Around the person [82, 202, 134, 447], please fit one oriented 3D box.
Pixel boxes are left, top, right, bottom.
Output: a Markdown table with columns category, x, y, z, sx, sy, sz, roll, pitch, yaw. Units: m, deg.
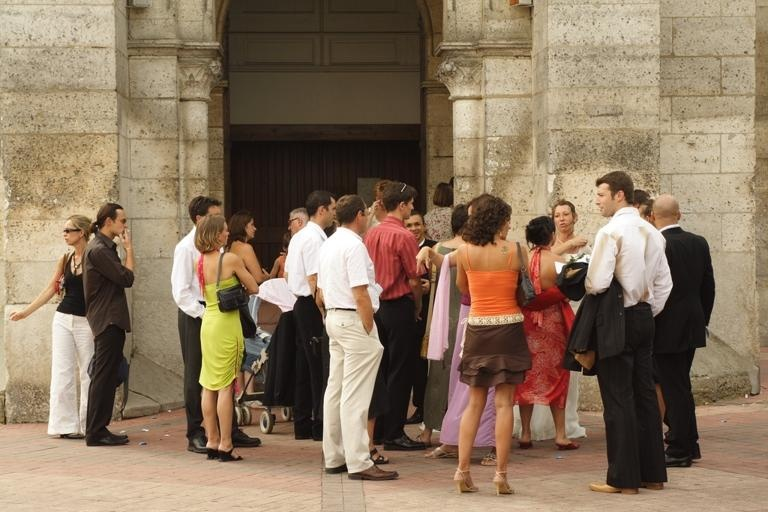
| category | x | y | z | sx | sy | sz | roll | pitch | yaw |
| --- | --- | --- | --- | --- | --- | --- | --- | --- | --- |
| person | -3.030 | 0.765 | 16.746 | 0.534 | 2.633 | 0.319 | 0 | -1 | -11 |

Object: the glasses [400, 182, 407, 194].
| category | x | y | z | sx | sy | sz | roll | pitch | yaw |
| --- | --- | --- | --- | --- | --- | --- | --- | --- | --- |
| glasses | 0.221 | -0.690 | 16.086 | 0.017 | 0.091 | 0.053 | 21 | -2 | -35 |

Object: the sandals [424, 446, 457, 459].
| category | x | y | z | sx | sy | sz | roll | pitch | yaw |
| --- | --- | --- | --- | --- | --- | --- | --- | --- | --- |
| sandals | 0.603 | 2.092 | 16.142 | 0.336 | 0.083 | 0.131 | 2 | -4 | -8 |

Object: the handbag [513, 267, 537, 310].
| category | x | y | z | sx | sy | sz | roll | pitch | yaw |
| --- | --- | --- | --- | --- | --- | --- | --- | --- | --- |
| handbag | 1.404 | 0.333 | 15.210 | 0.162 | 0.371 | 0.389 | -6 | -8 | -16 |

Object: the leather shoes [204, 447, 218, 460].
| category | x | y | z | sx | sy | sz | roll | pitch | yaw |
| --- | --- | --- | --- | --- | --- | --- | --- | --- | --- |
| leather shoes | -1.806 | 2.100 | 16.009 | 0.083 | 0.092 | 0.142 | 2 | 8 | 4 |

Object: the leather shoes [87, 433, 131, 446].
| category | x | y | z | sx | sy | sz | roll | pitch | yaw |
| --- | --- | --- | --- | --- | --- | --- | --- | --- | --- |
| leather shoes | -3.021 | 2.027 | 16.748 | 0.460 | 0.176 | 0.161 | -3 | 1 | -13 |

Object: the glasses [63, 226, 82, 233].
| category | x | y | z | sx | sy | sz | roll | pitch | yaw |
| --- | --- | --- | --- | --- | --- | --- | --- | --- | --- |
| glasses | -3.466 | -0.266 | 16.918 | 0.191 | 0.058 | 0.102 | 0 | -1 | 10 |

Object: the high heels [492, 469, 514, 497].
| category | x | y | z | sx | sy | sz | roll | pitch | yaw |
| --- | --- | --- | --- | --- | --- | --- | --- | --- | --- |
| high heels | 1.185 | 2.246 | 14.988 | 0.118 | 0.178 | 0.338 | 0 | 6 | 8 |

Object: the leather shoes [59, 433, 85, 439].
| category | x | y | z | sx | sy | sz | roll | pitch | yaw |
| --- | --- | --- | --- | --- | --- | --- | --- | --- | --- |
| leather shoes | -3.467 | 2.023 | 16.982 | 0.279 | 0.107 | 0.088 | 3 | -2 | 3 |

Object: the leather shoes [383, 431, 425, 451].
| category | x | y | z | sx | sy | sz | roll | pitch | yaw |
| --- | --- | --- | --- | --- | --- | --- | --- | --- | --- |
| leather shoes | 0.216 | 2.022 | 16.465 | 0.463 | 0.172 | 0.173 | -2 | -1 | -2 |

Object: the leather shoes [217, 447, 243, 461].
| category | x | y | z | sx | sy | sz | roll | pitch | yaw |
| --- | --- | --- | --- | --- | --- | --- | --- | --- | --- |
| leather shoes | -1.629 | 2.097 | 16.004 | 0.115 | 0.085 | 0.233 | 2 | 1 | 32 |

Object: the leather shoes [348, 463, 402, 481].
| category | x | y | z | sx | sy | sz | roll | pitch | yaw |
| --- | --- | --- | --- | --- | --- | --- | --- | --- | --- |
| leather shoes | -0.094 | 2.190 | 15.430 | 0.475 | 0.156 | 0.178 | 0 | 0 | 1 |

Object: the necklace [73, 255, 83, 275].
| category | x | y | z | sx | sy | sz | roll | pitch | yaw |
| --- | --- | --- | --- | --- | --- | --- | --- | --- | --- |
| necklace | -3.408 | 0.117 | 16.933 | 0.164 | 0.208 | 0.052 | 0 | -5 | 14 |

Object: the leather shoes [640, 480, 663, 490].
| category | x | y | z | sx | sy | sz | roll | pitch | yaw |
| --- | --- | --- | --- | --- | --- | --- | --- | --- | --- |
| leather shoes | 2.677 | 2.289 | 15.173 | 0.248 | 0.102 | 0.089 | 5 | 5 | 23 |

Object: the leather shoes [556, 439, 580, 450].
| category | x | y | z | sx | sy | sz | roll | pitch | yaw |
| --- | --- | --- | --- | --- | --- | --- | --- | --- | --- |
| leather shoes | 1.980 | 2.036 | 16.373 | 0.256 | 0.093 | 0.095 | -2 | 3 | -14 |

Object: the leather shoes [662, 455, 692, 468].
| category | x | y | z | sx | sy | sz | roll | pitch | yaw |
| --- | --- | --- | --- | --- | --- | --- | --- | --- | --- |
| leather shoes | 3.048 | 2.140 | 15.814 | 0.369 | 0.161 | 0.127 | 5 | -5 | -6 |

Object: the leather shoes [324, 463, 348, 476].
| category | x | y | z | sx | sy | sz | roll | pitch | yaw |
| --- | --- | --- | --- | --- | --- | --- | --- | --- | --- |
| leather shoes | -0.480 | 2.207 | 15.632 | 0.253 | 0.097 | 0.088 | -1 | 1 | -16 |

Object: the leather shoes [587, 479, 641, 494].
| category | x | y | z | sx | sy | sz | roll | pitch | yaw |
| --- | --- | --- | --- | --- | --- | --- | --- | --- | --- |
| leather shoes | 2.268 | 2.255 | 15.050 | 0.443 | 0.132 | 0.160 | 4 | 0 | 28 |

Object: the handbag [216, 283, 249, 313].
| category | x | y | z | sx | sy | sz | roll | pitch | yaw |
| --- | --- | --- | --- | --- | --- | --- | --- | --- | --- |
| handbag | -1.591 | 0.444 | 15.831 | 0.280 | 0.227 | 0.124 | -14 | 2 | -30 |

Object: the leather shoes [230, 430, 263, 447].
| category | x | y | z | sx | sy | sz | roll | pitch | yaw |
| --- | --- | --- | --- | --- | --- | --- | --- | --- | --- |
| leather shoes | -1.488 | 2.014 | 16.623 | 0.374 | 0.230 | 0.138 | -1 | -1 | -4 |
